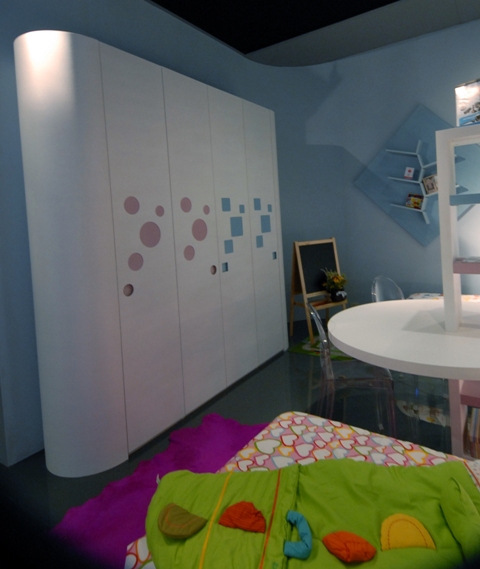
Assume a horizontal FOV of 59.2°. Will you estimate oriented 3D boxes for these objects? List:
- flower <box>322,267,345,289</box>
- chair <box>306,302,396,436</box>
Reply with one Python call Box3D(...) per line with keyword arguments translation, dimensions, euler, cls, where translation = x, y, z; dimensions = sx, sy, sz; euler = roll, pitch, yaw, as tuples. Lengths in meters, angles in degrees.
Box3D(translation=(0.971, -0.057, 4.429), dimensions=(0.230, 0.209, 0.174), euler=(-6, 8, -22), cls="flower")
Box3D(translation=(0.701, 0.512, 2.604), dimensions=(0.418, 0.821, 0.424), euler=(-5, 9, 2), cls="chair")
